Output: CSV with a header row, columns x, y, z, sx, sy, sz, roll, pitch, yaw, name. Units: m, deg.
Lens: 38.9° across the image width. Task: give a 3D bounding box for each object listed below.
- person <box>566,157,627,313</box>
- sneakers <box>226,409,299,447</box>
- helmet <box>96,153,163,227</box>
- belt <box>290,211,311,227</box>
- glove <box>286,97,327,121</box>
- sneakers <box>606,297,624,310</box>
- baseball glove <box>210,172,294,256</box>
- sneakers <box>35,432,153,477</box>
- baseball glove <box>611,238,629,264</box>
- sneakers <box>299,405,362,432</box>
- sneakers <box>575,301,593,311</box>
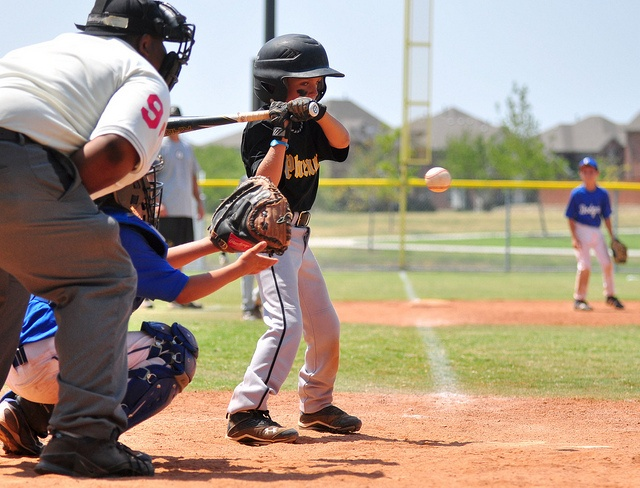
x,y,z,sx,sy,sz,roll,pitch,yaw,name
2.787,-0.109,9.275,0.661,1.572,0.428,-2,2,-44,person
-0.309,0.908,4.486,0.400,0.165,0.142,1,-1,9,sneakers
-0.859,-0.249,4.231,0.363,0.308,0.273,-6,18,-27,helmet
-0.104,-0.130,4.845,0.088,0.080,0.020,4,-4,-21,belt
-0.068,-0.677,4.623,0.165,0.082,0.119,11,5,20,glove
3.082,0.600,9.351,0.083,0.087,0.217,-18,25,-36,sneakers
-0.320,-0.124,4.110,0.329,0.318,0.165,0,2,34,baseball glove
-0.941,0.847,3.756,0.419,0.171,0.196,4,-2,-12,sneakers
3.193,0.078,9.689,0.095,0.254,0.200,-24,19,-11,baseball glove
0.058,0.933,4.892,0.330,0.126,0.128,-2,-3,26,sneakers
2.699,0.625,9.248,0.077,0.088,0.209,0,-10,-11,sneakers
